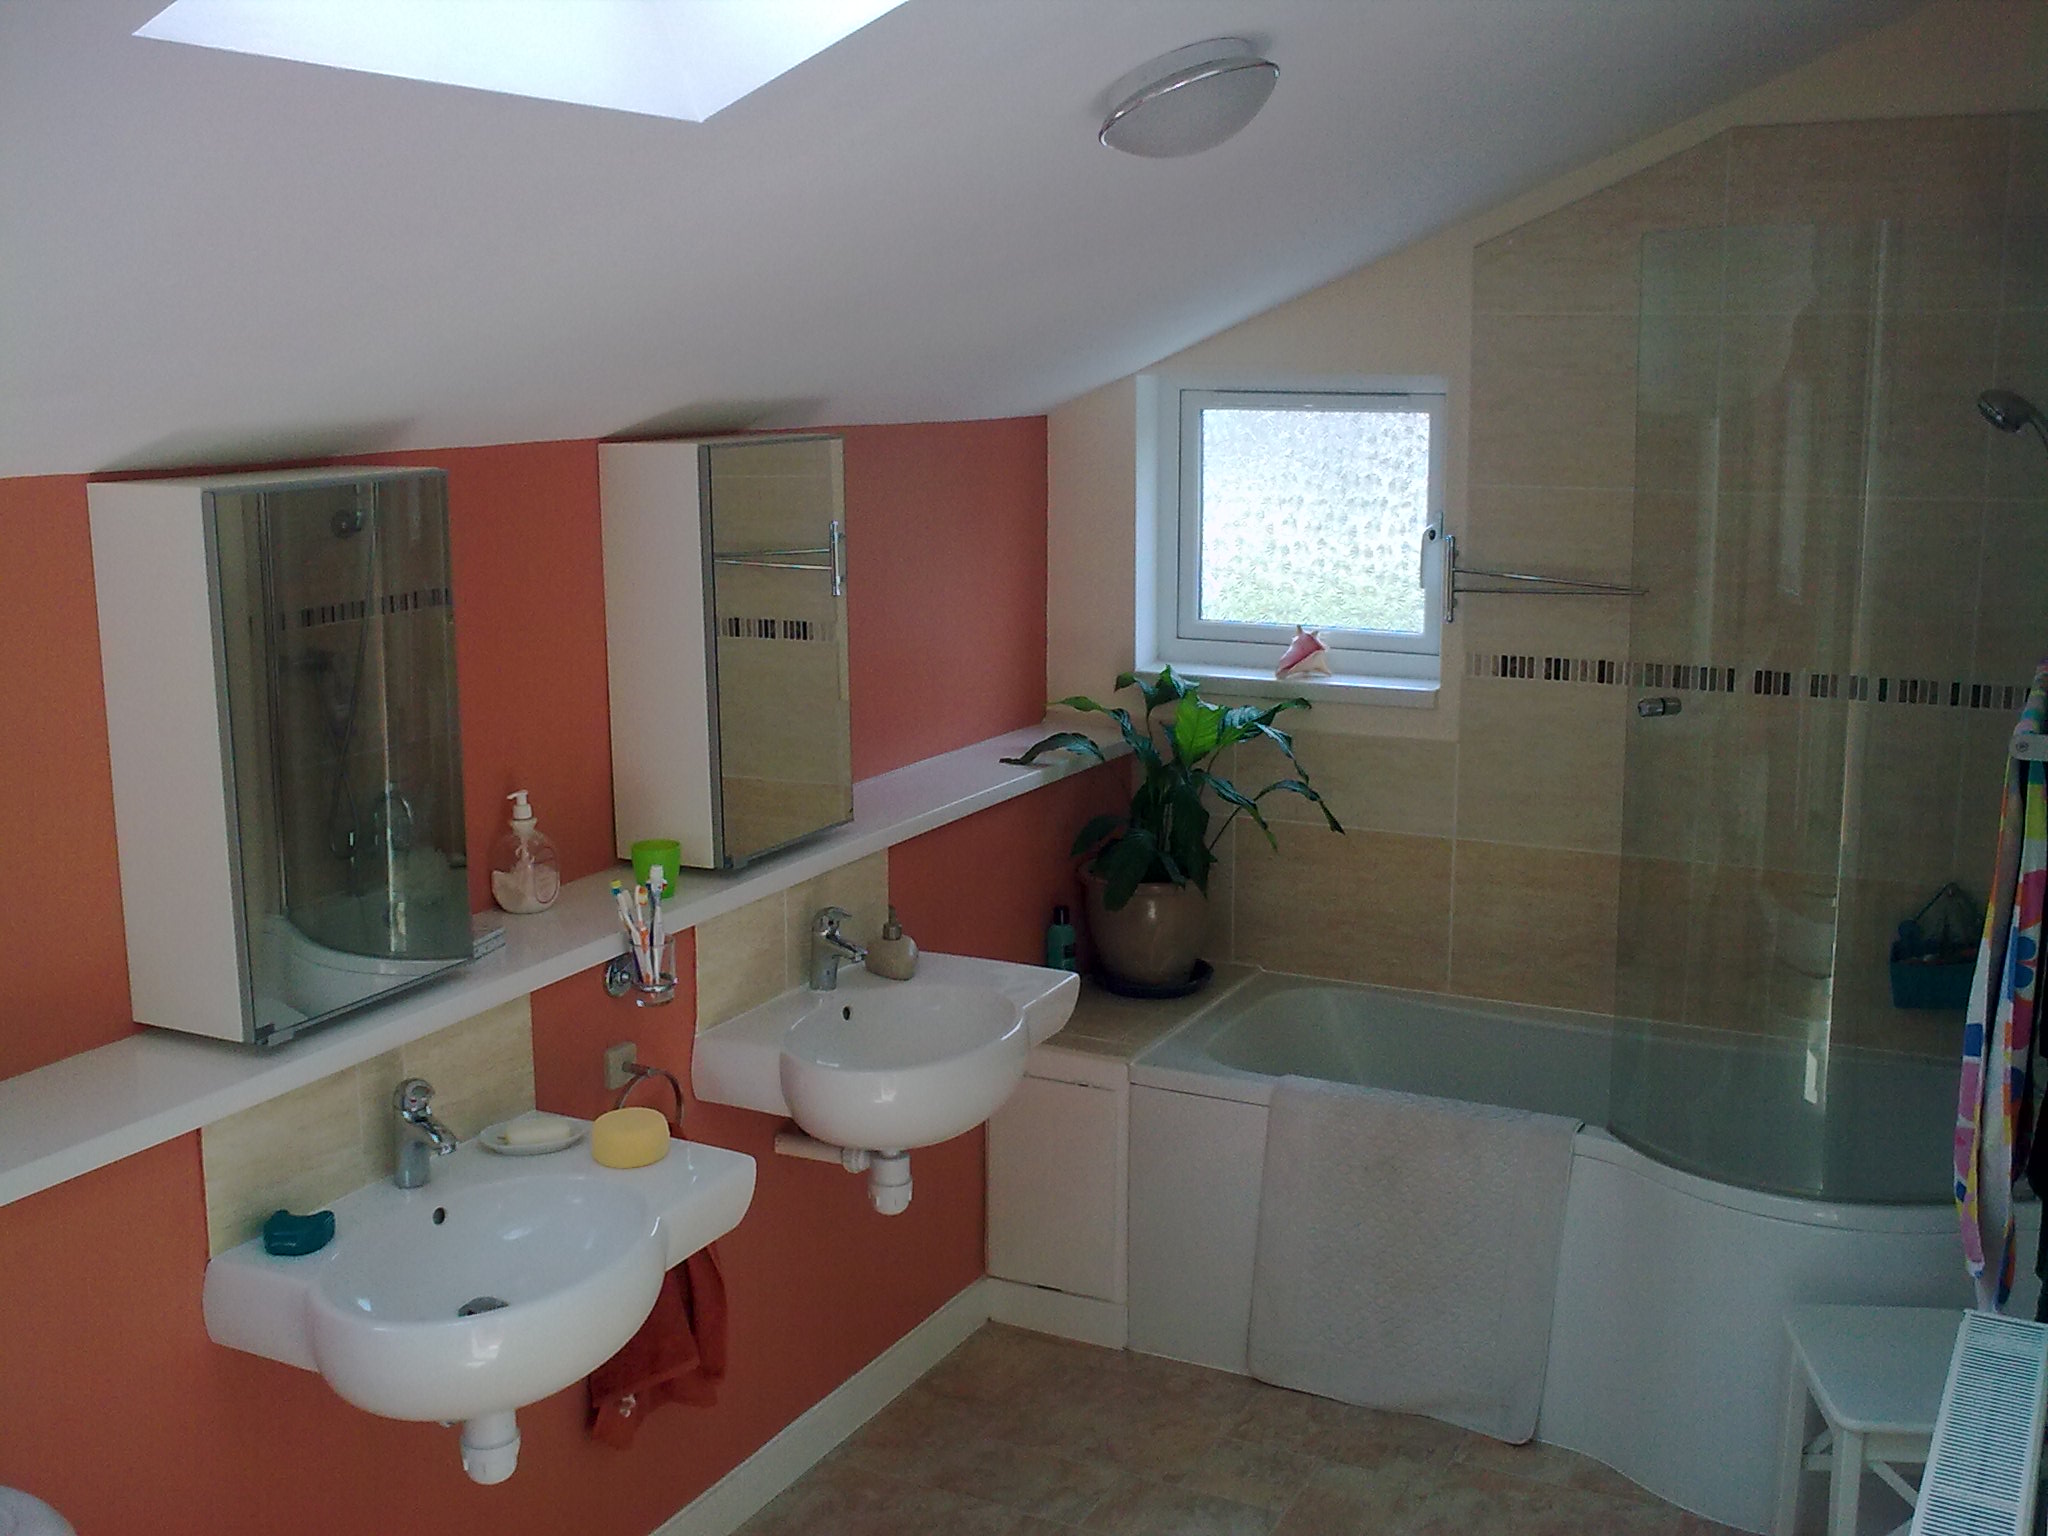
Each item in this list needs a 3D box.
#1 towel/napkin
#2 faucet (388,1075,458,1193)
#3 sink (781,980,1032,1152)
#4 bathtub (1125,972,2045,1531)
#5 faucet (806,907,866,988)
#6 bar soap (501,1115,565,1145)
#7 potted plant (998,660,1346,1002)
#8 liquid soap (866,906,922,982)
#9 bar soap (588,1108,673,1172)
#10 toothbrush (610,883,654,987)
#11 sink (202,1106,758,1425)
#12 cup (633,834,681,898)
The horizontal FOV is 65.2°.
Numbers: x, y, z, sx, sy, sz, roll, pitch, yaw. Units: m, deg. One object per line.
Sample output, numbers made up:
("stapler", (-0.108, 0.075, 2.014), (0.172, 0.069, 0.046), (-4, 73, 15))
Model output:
("towel/napkin", (-0.654, 1.025, 2.873), (0.116, 0.339, 0.326), (7, 17, 29))
("faucet", (-0.937, 0.588, 2.510), (0.140, 0.175, 0.057), (18, 17, 37))
("sink", (-0.238, 0.597, 3.192), (0.438, 0.242, 0.657), (1, 9, 4))
("bathtub", (1.241, 0.998, 3.697), (1.843, 0.912, 1.006), (9, 17, 35))
("faucet", (-0.388, 0.372, 3.372), (0.097, 0.163, 0.162), (-6, 7, -40))
("bar soap", (-0.807, 0.603, 2.652), (0.058, 0.020, 0.060), (2, 6, 4))
("potted plant", (0.381, 0.125, 4.387), (0.851, 0.781, 0.856), (5, 4, 40))
("liquid soap", (-0.278, 0.391, 3.514), (0.113, 0.247, 0.102), (2, 3, 8))
("bar soap", (-0.639, 0.586, 2.599), (0.093, 0.045, 0.096), (-2, 10, -9))
("toothbrush", (-0.672, 0.288, 2.784), (0.056, 0.171, 0.048), (-4, 14, -13))
("sink", (-0.783, 0.737, 2.456), (0.575, 0.182, 0.673), (8, 17, 30))
("cup", (-0.662, 0.179, 2.912), (0.085, 0.092, 0.094), (0, 2, -7))
